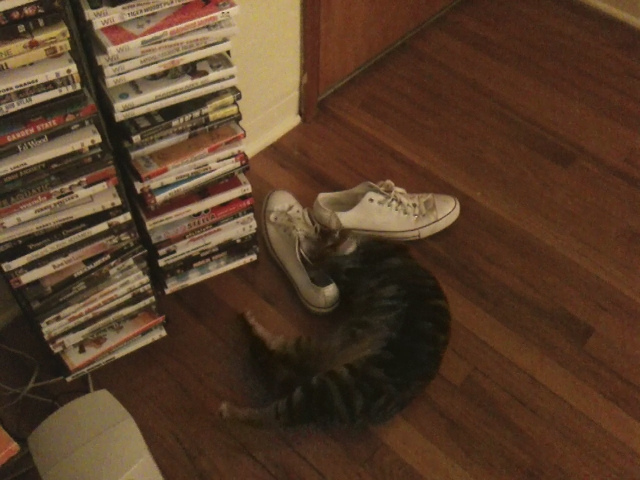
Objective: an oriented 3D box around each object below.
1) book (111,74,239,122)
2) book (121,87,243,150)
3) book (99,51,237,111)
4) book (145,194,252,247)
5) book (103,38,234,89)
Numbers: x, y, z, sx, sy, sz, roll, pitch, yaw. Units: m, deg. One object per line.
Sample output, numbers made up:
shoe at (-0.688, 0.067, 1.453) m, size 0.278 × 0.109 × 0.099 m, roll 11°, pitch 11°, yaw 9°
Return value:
book at (-0.379, -0.355, 1.580) m, size 0.177 × 0.185 × 0.043 m, roll -29°, pitch 101°, yaw -35°
book at (-0.366, -0.317, 1.618) m, size 0.198 × 0.209 × 0.050 m, roll -19°, pitch 98°, yaw 23°
book at (-0.381, -0.397, 1.570) m, size 0.199 × 0.048 × 0.200 m, roll -22°, pitch 32°, yaw -10°
book at (-0.350, -0.053, 1.791) m, size 0.198 × 0.192 × 0.051 m, roll -22°, pitch 72°, yaw -25°
book at (-0.383, -0.430, 1.536) m, size 0.183 × 0.038 × 0.181 m, roll -22°, pitch 18°, yaw -3°
